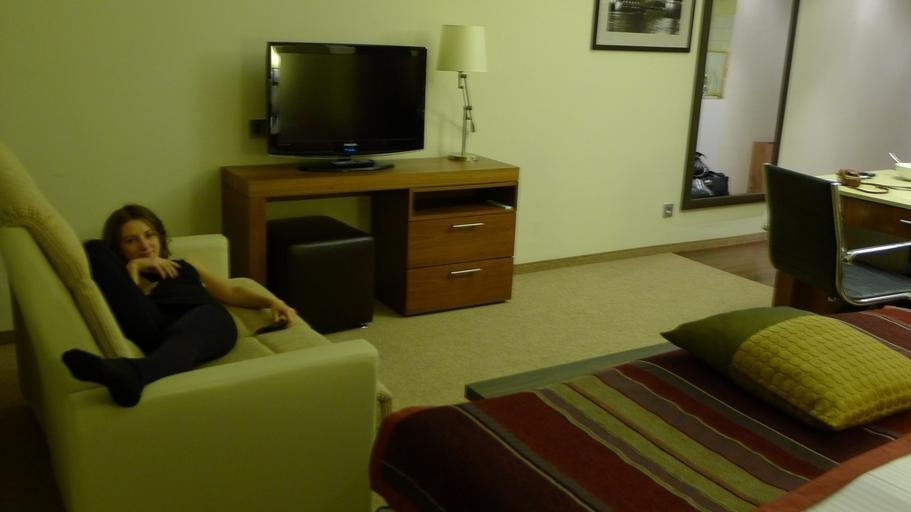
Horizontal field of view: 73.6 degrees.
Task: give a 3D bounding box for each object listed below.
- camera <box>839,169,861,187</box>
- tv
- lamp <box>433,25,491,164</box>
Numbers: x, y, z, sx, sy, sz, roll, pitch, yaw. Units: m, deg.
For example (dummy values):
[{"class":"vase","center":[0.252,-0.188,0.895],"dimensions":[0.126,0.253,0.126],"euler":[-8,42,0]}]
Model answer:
[{"class":"camera","center":[2.845,-0.563,4.371],"dimensions":[0.101,0.068,0.182],"euler":[4,11,19]},{"class":"tv","center":[-0.809,-1.085,4.335],"dimensions":[1.109,0.705,0.320],"euler":[-1,16,-18]},{"class":"lamp","center":[0.067,-1.272,4.750],"dimensions":[0.359,0.994,0.420],"euler":[0,24,5]}]
